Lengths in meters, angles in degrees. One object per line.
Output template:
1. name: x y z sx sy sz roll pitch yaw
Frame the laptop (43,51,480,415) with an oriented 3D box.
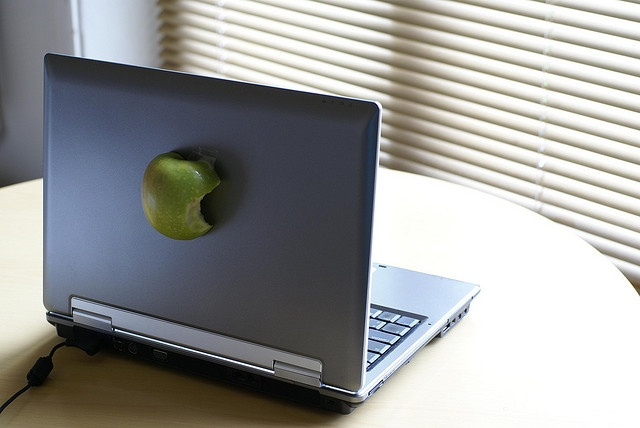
1. laptop: -0.144 0.018 0.889 0.673 0.475 0.185 16 22 13
